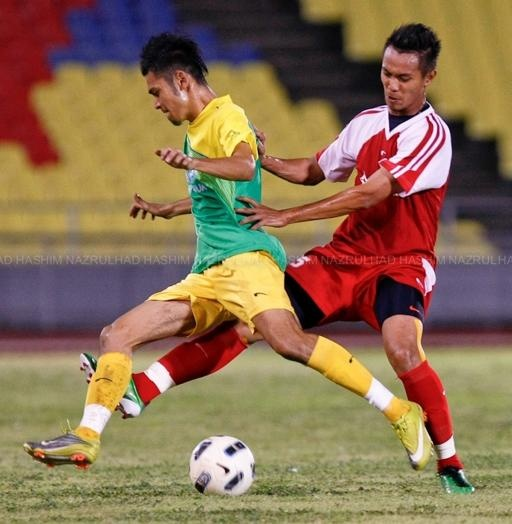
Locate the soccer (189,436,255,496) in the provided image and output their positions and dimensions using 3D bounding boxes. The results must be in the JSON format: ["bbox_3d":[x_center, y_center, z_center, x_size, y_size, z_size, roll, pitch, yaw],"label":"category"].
[{"bbox_3d":[-0.168,0.977,4.449,0.319,0.237,0.259,-3,-4,-15],"label":"soccer"}]

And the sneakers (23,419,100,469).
[{"bbox_3d":[-0.821,0.798,4.109,0.438,0.107,0.191,4,41,0],"label":"sneakers"}]

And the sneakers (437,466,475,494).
[{"bbox_3d":[0.938,1.032,4.436,0.101,0.054,0.147,-18,32,-18],"label":"sneakers"}]
